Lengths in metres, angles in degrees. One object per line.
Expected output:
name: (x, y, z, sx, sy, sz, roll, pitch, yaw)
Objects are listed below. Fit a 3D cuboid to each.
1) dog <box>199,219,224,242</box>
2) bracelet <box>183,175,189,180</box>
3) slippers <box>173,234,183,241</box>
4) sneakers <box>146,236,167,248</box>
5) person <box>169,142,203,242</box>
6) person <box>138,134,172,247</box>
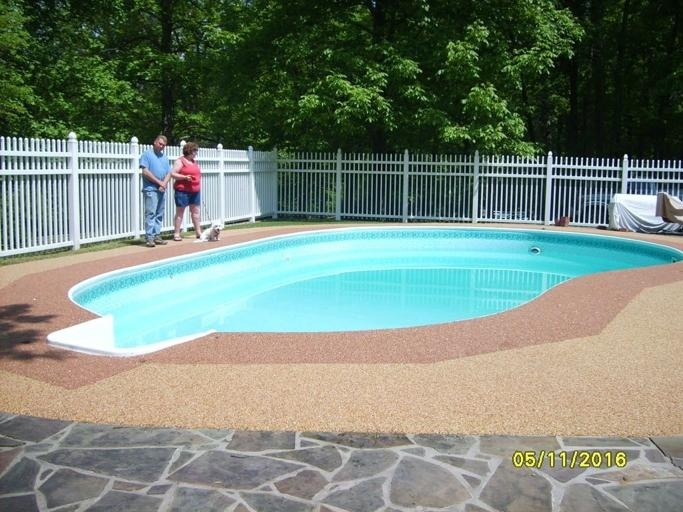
dog: (-3.472, -0.681, 14.042, 0.914, 0.552, 0.549, -3, 9, 23)
bracelet: (-3.813, -1.933, 13.169, 0.113, 0.082, 0.178, -7, -19, -23)
slippers: (-4.183, -0.462, 13.694, 0.139, 0.121, 0.350, -4, 4, -31)
sneakers: (-4.483, -0.348, 12.844, 0.551, 0.196, 0.167, -1, 7, 3)
person: (-3.975, -1.644, 13.748, 0.670, 2.476, 1.420, -2, 11, -16)
person: (-4.388, -1.564, 12.746, 0.670, 2.599, 0.925, -2, 12, -16)
